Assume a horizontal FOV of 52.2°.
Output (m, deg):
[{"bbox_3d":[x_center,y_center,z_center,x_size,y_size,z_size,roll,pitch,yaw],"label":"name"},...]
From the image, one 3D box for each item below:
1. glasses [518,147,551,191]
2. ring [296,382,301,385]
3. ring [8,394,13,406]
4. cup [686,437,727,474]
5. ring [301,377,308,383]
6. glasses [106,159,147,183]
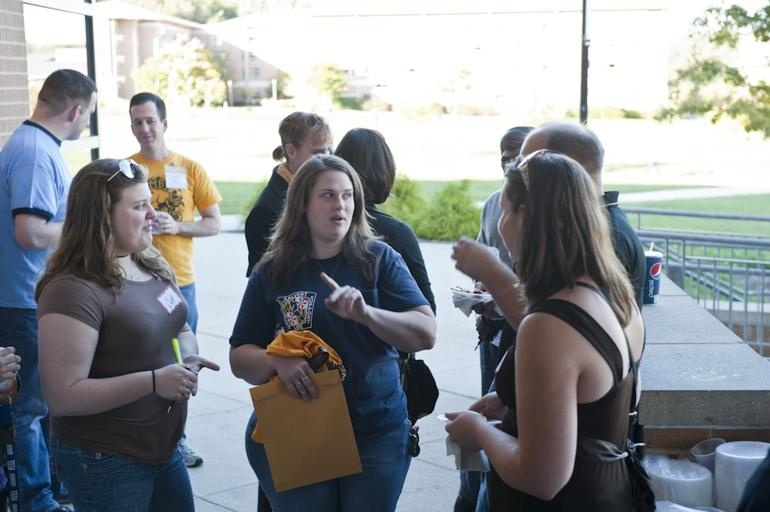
[{"bbox_3d":[0.739,-0.445,4.004,0.153,0.203,0.111,3,5,-31],"label":"glasses"},{"bbox_3d":[-0.473,0.699,4.314,0.025,0.016,0.004,-1,9,-18],"label":"ring"},{"bbox_3d":[-2.186,0.842,4.580,0.032,0.042,0.041,3,-22,-21],"label":"ring"},{"bbox_3d":[2.087,1.292,5.142,0.205,0.161,0.304,5,9,23],"label":"cup"},{"bbox_3d":[-0.439,0.678,4.318,0.045,0.035,0.011,1,9,-6],"label":"ring"},{"bbox_3d":[-1.483,-0.488,4.487,0.151,0.045,0.144,-32,4,14],"label":"glasses"}]
